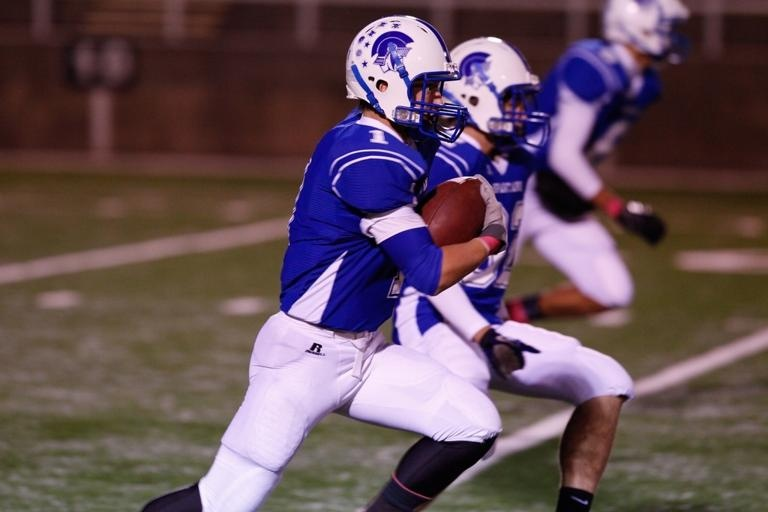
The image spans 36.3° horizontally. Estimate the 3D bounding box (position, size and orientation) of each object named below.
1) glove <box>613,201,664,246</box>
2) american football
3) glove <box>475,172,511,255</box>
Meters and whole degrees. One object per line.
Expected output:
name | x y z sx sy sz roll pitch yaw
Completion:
glove | 1.562 -0.241 7.303 0.245 0.172 0.319 -15 31 -39
american football | 0.395 -0.187 6.001 0.373 0.220 0.263 -35 62 -10
glove | 0.594 -0.204 5.926 0.131 0.329 0.256 -6 17 -27
